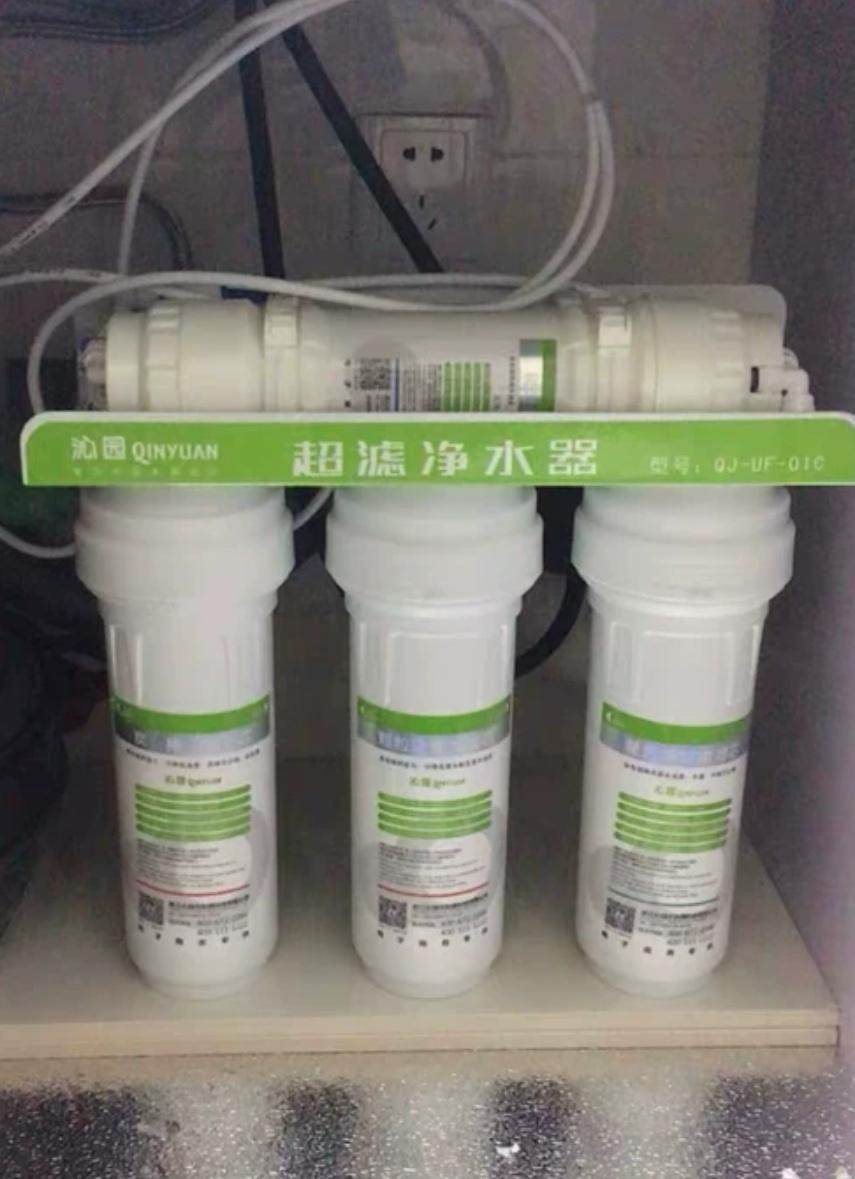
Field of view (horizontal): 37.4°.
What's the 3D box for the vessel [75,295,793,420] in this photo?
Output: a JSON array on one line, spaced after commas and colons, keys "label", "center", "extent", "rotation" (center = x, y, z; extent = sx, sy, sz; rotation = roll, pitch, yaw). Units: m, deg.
[{"label": "vessel", "center": [0.009, -0.130, 0.728], "extent": [0.328, 0.072, 0.076], "rotation": [1, 11, 0]}]
